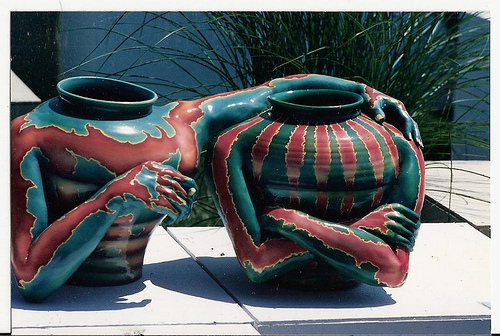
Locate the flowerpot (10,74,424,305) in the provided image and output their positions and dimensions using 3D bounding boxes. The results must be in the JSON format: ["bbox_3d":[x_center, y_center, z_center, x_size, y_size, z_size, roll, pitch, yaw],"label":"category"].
[{"bbox_3d":[-0.372,0.076,2.785,1.279,0.957,0.522,0,14,-9],"label":"flowerpot"}]

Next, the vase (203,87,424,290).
[{"bbox_3d":[0.272,0.077,2.970,1.043,0.783,1.006,-7,29,-22],"label":"vase"}]
